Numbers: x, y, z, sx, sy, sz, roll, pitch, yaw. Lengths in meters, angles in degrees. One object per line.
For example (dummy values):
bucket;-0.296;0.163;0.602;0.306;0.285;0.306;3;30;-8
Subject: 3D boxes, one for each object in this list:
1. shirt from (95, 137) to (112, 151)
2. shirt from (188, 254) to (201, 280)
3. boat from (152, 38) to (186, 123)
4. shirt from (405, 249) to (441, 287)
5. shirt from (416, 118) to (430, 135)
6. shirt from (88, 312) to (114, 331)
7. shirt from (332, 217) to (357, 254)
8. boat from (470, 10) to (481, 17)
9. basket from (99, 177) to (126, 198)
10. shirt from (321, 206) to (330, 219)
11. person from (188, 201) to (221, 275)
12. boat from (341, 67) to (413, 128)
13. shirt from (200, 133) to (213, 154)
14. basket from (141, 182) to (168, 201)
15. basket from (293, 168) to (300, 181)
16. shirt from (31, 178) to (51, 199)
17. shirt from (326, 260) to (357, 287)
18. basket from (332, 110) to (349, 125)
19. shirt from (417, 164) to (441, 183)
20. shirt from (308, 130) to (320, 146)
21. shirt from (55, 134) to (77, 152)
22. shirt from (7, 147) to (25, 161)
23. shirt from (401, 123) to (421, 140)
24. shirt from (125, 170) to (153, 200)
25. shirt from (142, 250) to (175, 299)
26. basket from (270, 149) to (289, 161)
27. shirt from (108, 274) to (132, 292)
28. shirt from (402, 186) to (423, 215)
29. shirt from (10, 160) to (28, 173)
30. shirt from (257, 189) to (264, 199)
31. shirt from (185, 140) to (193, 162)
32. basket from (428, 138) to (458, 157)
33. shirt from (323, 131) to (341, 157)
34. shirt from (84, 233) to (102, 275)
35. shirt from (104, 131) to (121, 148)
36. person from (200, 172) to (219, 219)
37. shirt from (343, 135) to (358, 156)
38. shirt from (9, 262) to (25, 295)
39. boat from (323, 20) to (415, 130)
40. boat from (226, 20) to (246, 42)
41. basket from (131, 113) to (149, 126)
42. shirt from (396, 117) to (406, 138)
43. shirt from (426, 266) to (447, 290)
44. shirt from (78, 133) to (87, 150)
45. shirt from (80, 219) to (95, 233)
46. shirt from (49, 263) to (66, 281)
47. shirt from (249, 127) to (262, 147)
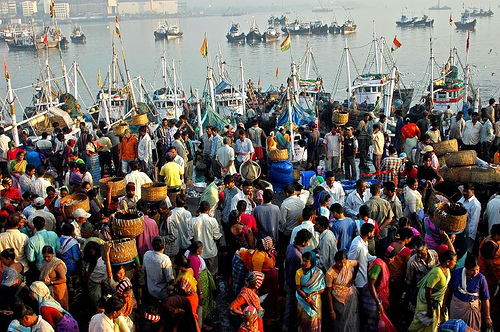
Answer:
shirt;-4.017;-0.655;16.671;0.465;0.484;0.295;1;25;-4
shirt;-1.037;1.874;11.089;0.185;0.384;0.326;-10;19;-14
boat;-4.255;-4.317;31.602;1.217;4.707;3.674;-10;-4;3
shirt;3.165;1.890;10.992;0.576;0.576;0.300;-1;-2;-18
shirt;4.798;-1.088;16.655;0.437;0.629;0.225;0;-2;9
shirt;-2.490;2.493;10.091;0.432;0.386;0.241;11;12;44
shirt;1.872;1.328;11.819;0.547;0.774;0.350;-19;29;-19
boat;54.569;-37.242;145.540;2.205;1.513;8.415;2;13;27
basket;-3.055;0.487;13.588;0.416;0.333;0.463;0;10;-3
shirt;1.522;0.955;12.212;0.177;0.196;0.099;21;34;39
person;-0.933;1.629;12.393;0.644;1.898;0.512;3;25;0
boat;6.194;-3.649;31.172;4.215;1.673;2.150;-2;23;-25
shirt;-1.210;-0.636;17.107;0.474;0.726;0.252;0;7;1
basket;-2.092;0.567;13.129;0.547;0.323;0.476;-5;11;-7
basket;1.240;0.237;15.829;0.169;0.289;0.450;-3;11;3
shirt;-4.744;0.532;13.672;0.331;0.389;0.196;-3;19;-3
shirt;1.586;1.933;10.696;0.350;0.563;0.252;-1;24;-21
basket;2.517;-1.381;16.822;0.414;0.351;0.462;2;10;8
shirt;4.106;0.138;13.792;0.527;0.381;0.305;-4;10;-3
shirt;1.746;-0.769;16.456;0.335;0.408;0.208;-2;16;-7
shirt;-5.219;-0.755;16.835;0.383;0.637;0.280;9;-5;-4
shirt;-5.891;-0.308;15.121;0.436;0.516;0.255;2;2;0
shirt;4.333;-0.930;16.248;0.337;0.359;0.179;-6;19;16
shirt;-2.491;0.448;13.470;0.531;0.338;0.892;4;-30;-1
shirt;-1.738;2.039;11.502;0.722;1.073;0.395;25;34;32
basket;0.765;-0.292;15.496;0.314;0.275;0.285;-4;13;6
shirt;-2.394;2.171;11.074;0.288;0.337;0.173;-2;16;-9
shirt;3.466;0.743;12.814;0.219;0.438;0.351;-21;-40;24
shirt;-5.672;0.013;14.825;0.414;0.392;0.256;11;3;-17
shirt;0.231;0.629;13.337;0.111;0.211;0.222;-4;10;-5
shirt;-1.674;-0.448;16.586;0.138;0.574;0.546;-4;10;-6
basket;4.808;-0.466;14.857;0.469;0.238;0.488;-1;10;40
shirt;2.240;-0.603;16.301;0.574;0.822;0.385;-1;10;0
shirt;-3.039;1.744;11.564;0.403;0.208;0.603;17;48;-10
shirt;-3.810;-0.737;16.767;0.335;0.371;0.196;-14;-12;-34
person;-0.884;0.679;13.212;0.358;1.273;0.506;6;22;11
shirt;2.701;-0.557;16.168;0.210;0.436;0.401;-7;17;-28
shirt;-4.217;2.117;11.020;0.261;0.444;0.109;6;5;14
boat;5.677;-4.728;30.966;4.692;3.592;1.705;7;4;1
boat;-2.304;-21.780;98.726;3.139;2.447;1.924;-7;11;-20
basket;-3.018;-1.271;16.498;0.382;0.317;0.502;-2;11;8
shirt;4.189;-1.076;16.686;0.250;0.287;0.813;21;-13;17
shirt;3.292;1.994;10.562;0.260;0.420;0.486;0;5;18
shirt;-4.550;-0.677;16.440;0.254;0.418;0.107;0;1;28
shirt;-3.150;1.193;11.689;0.233;0.207;0.153;-9;11;-25
shirt;-3.578;1.976;11.147;0.214;0.275;0.147;10;-15;6
shirt;0.150;-0.810;16.634;0.366;0.650;0.255;7;29;16
